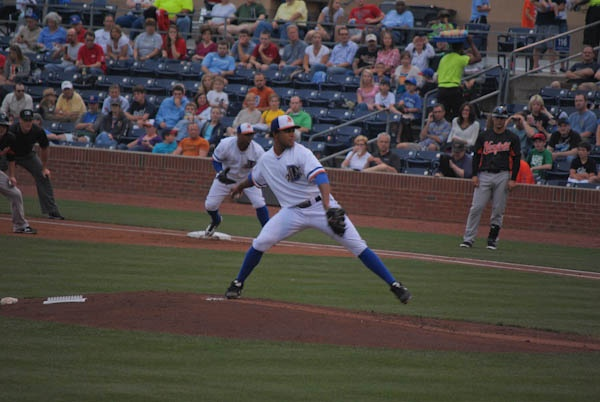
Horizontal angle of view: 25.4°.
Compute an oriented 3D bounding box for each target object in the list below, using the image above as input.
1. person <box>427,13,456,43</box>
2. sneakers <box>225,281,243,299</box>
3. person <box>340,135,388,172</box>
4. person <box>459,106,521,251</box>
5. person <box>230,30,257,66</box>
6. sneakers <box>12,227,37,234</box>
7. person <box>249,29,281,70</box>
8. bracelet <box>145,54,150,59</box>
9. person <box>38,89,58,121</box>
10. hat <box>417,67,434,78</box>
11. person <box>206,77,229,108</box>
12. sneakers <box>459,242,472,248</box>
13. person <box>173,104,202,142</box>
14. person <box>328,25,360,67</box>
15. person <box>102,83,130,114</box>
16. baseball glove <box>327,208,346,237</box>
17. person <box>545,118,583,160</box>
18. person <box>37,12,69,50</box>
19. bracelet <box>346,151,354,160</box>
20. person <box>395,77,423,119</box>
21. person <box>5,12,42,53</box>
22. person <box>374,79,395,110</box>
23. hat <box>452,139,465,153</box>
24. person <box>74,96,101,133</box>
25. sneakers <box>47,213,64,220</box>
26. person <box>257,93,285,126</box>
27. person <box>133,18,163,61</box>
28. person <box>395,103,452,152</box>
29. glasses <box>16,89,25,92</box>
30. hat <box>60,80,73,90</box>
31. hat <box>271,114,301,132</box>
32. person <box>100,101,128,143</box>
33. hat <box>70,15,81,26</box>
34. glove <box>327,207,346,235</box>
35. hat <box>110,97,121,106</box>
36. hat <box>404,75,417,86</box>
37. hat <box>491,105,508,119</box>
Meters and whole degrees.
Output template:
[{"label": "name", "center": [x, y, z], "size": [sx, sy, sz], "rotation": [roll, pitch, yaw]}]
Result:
[{"label": "person", "center": [3.694, -4.668, 35.760], "size": [0.794, 0.916, 0.655], "rotation": [4, -8, -9]}, {"label": "sneakers", "center": [-1.263, 1.733, 25.536], "size": [0.454, 0.274, 0.214], "rotation": [-11, -9, 19]}, {"label": "person", "center": [1.556, -1.120, 33.214], "size": [1.009, 0.838, 0.554], "rotation": [-5, -15, 21]}, {"label": "person", "center": [4.196, -0.530, 29.401], "size": [1.368, 3.082, 0.968], "rotation": [4, 3, -1]}, {"label": "person", "center": [-1.690, -4.220, 36.930], "size": [0.781, 0.988, 1.130], "rotation": [9, 17, 15]}, {"label": "sneakers", "center": [-5.943, 0.631, 28.611], "size": [0.469, 0.171, 0.173], "rotation": [-1, 5, -3]}, {"label": "person", "center": [-0.953, -4.150, 36.585], "size": [0.823, 1.092, 1.193], "rotation": [4, 22, 9]}, {"label": "bracelet", "center": [-4.300, -4.046, 37.406], "size": [0.114, 0.104, 0.025], "rotation": [-22, -34, 12]}, {"label": "person", "center": [-6.786, -2.571, 35.651], "size": [0.438, 0.784, 0.601], "rotation": [27, 30, 24]}, {"label": "hat", "center": [3.313, -3.347, 34.662], "size": [0.412, 0.193, 0.413], "rotation": [5, 7, 10]}, {"label": "person", "center": [-2.206, -2.863, 34.943], "size": [0.644, 0.841, 0.594], "rotation": [12, 10, 41]}, {"label": "sneakers", "center": [3.680, 0.992, 29.563], "size": [0.280, 0.103, 0.095], "rotation": [4, 1, -23]}, {"label": "person", "center": [-2.900, -2.047, 34.443], "size": [0.727, 1.006, 0.461], "rotation": [2, 9, -20]}, {"label": "person", "center": [1.089, -4.060, 35.804], "size": [0.956, 1.267, 1.050], "rotation": [5, 12, 26]}, {"label": "person", "center": [-4.905, -2.597, 35.009], "size": [0.693, 0.836, 0.531], "rotation": [-4, 9, -14]}, {"label": "baseball glove", "center": [0.695, 0.419, 25.181], "size": [0.323, 0.491, 0.218], "rotation": [-16, -8, -7]}, {"label": "person", "center": [6.281, -1.451, 31.950], "size": [0.918, 1.102, 0.944], "rotation": [1, 14, 18]}, {"label": "person", "center": [-7.216, -4.869, 38.685], "size": [1.003, 1.215, 0.686], "rotation": [0, 10, -11]}, {"label": "bracelet", "center": [1.240, -1.126, 33.280], "size": [0.228, 0.081, 0.158], "rotation": [-35, 20, 28]}, {"label": "person", "center": [2.688, -2.603, 33.937], "size": [0.940, 1.063, 0.763], "rotation": [-3, 16, -16]}, {"label": "person", "center": [-8.031, -4.860, 38.865], "size": [0.862, 1.230, 1.012], "rotation": [16, 16, 31]}, {"label": "person", "center": [2.130, -2.685, 33.913], "size": [0.634, 0.788, 0.776], "rotation": [-1, 12, 6]}, {"label": "hat", "center": [3.725, -1.295, 31.406], "size": [0.247, 0.158, 0.311], "rotation": [7, 37, 14]}, {"label": "person", "center": [-5.587, -2.298, 35.146], "size": [0.576, 0.961, 0.721], "rotation": [-2, 10, -38]}, {"label": "sneakers", "center": [-5.530, 0.362, 30.027], "size": [0.399, 0.137, 0.127], "rotation": [2, 7, 3]}, {"label": "person", "center": [-0.722, -2.347, 33.892], "size": [0.614, 0.749, 0.955], "rotation": [8, 18, 11]}, {"label": "person", "center": [-4.400, -4.504, 37.619], "size": [1.068, 1.273, 1.082], "rotation": [-1, 21, -7]}, {"label": "person", "center": [3.188, -1.669, 33.113], "size": [0.982, 1.474, 1.320], "rotation": [10, 7, 43]}, {"label": "glasses", "center": [-7.266, -2.848, 34.532], "size": [0.168, 0.069, 0.088], "rotation": [-2, 10, -38]}, {"label": "hat", "center": [-6.165, -3.088, 35.145], "size": [0.261, 0.180, 0.372], "rotation": [-4, -8, -16]}, {"label": "hat", "center": [-0.379, -1.500, 25.583], "size": [0.449, 0.214, 0.333], "rotation": [6, 12, 43]}, {"label": "person", "center": [-4.919, -1.914, 34.820], "size": [0.817, 0.959, 0.465], "rotation": [5, 8, 3]}, {"label": "hat", "center": [-6.404, -5.144, 37.924], "size": [0.279, 0.191, 0.400], "rotation": [-2, 12, -13]}, {"label": "glove", "center": [0.689, 0.389, 25.283], "size": [0.325, 0.488, 0.218], "rotation": [-8, 9, 7]}, {"label": "hat", "center": [-4.816, -2.579, 34.561], "size": [0.282, 0.136, 0.371], "rotation": [2, 1, -3]}, {"label": "hat", "center": [2.809, -3.088, 34.007], "size": [0.235, 0.186, 0.348], "rotation": [4, -11, 30]}, {"label": "hat", "center": [4.405, -1.979, 29.316], "size": [0.330, 0.210, 0.440], "rotation": [4, 0, 10]}]
